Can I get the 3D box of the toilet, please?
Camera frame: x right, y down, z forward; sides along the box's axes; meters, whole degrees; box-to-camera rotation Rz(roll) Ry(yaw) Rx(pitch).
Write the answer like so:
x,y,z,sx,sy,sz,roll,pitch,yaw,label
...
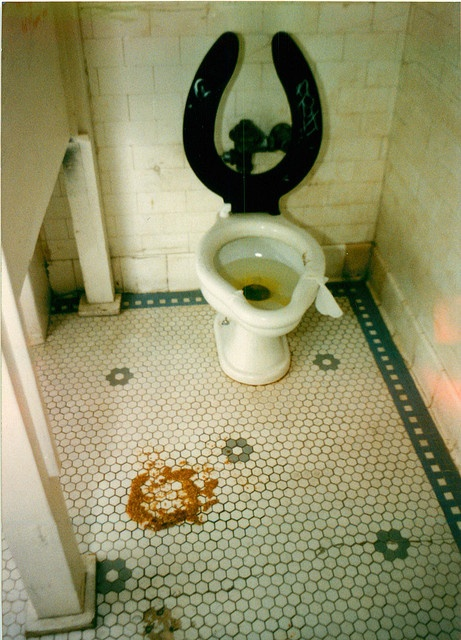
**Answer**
x,y,z,sx,sy,sz,roll,pitch,yaw,label
0.090,-0.113,2.324,0.599,0.642,0.770,-4,55,-9,toilet
